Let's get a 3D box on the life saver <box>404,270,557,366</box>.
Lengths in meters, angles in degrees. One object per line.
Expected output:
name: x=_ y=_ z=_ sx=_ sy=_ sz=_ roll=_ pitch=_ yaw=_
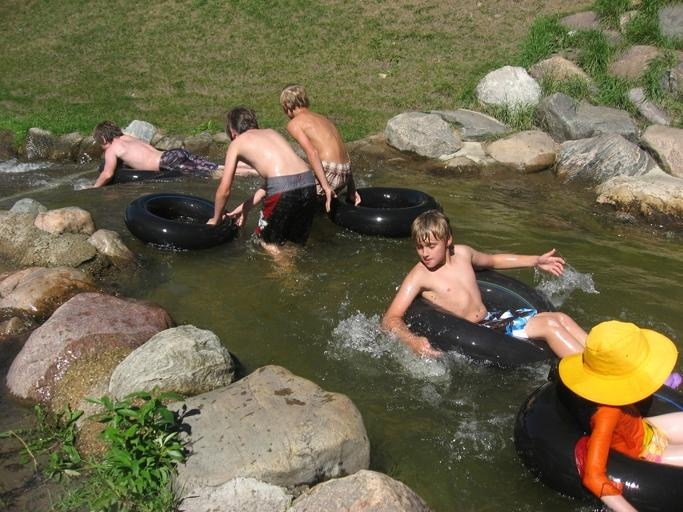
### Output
life saver: x=1.675 y=0.797 z=8.257 sx=1.561 sy=0.317 sz=1.458 roll=-20 pitch=49 yaw=-31

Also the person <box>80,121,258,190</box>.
person: x=-3.265 y=-1.663 z=12.399 sx=2.584 sy=0.996 sz=1.386 roll=10 pitch=27 yaw=3

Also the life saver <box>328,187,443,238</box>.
life saver: x=0.498 y=-0.631 z=10.709 sx=1.029 sy=0.281 sz=1.022 roll=-13 pitch=25 yaw=-36
